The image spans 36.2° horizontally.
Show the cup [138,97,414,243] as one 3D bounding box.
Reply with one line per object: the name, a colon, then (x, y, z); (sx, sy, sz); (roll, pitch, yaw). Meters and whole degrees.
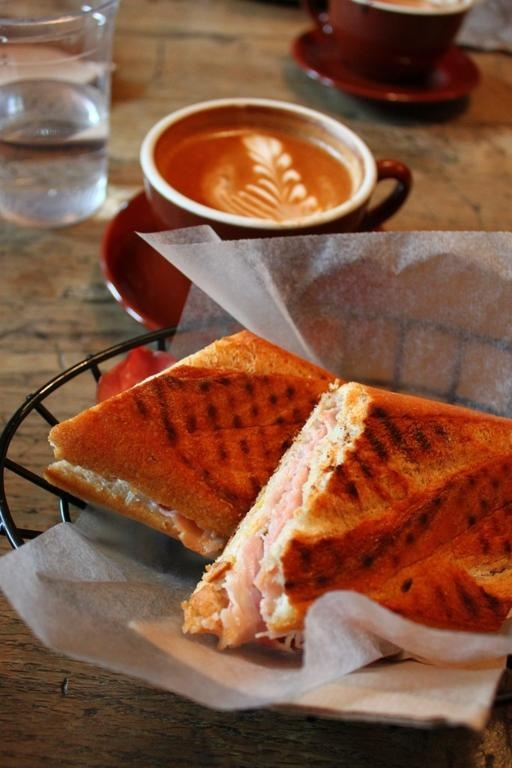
cup: (0.016, -0.197, 0.882); (0.261, 0.103, 0.194); (8, 46, 2)
